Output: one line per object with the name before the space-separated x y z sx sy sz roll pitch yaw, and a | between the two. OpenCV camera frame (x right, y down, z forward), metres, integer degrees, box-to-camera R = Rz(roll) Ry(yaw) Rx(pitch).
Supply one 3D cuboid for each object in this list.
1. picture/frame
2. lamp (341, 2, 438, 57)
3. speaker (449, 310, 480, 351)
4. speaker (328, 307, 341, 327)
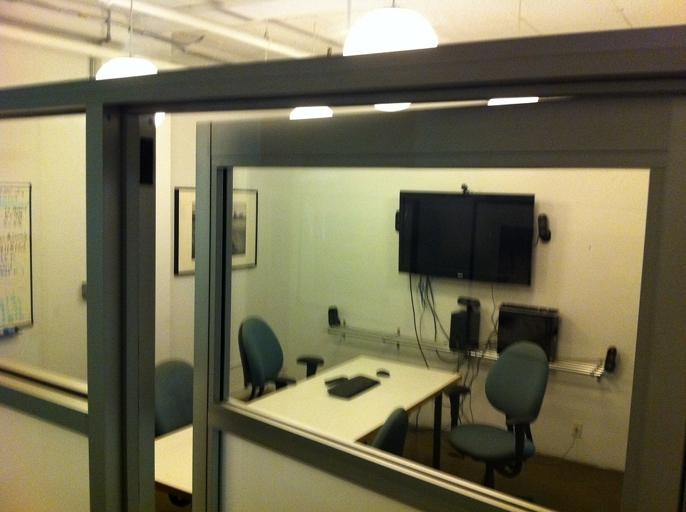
picture/frame | -0.246 -0.051 1.153 0.163 0.187 0.014 1 4 14
lamp | 0.140 -0.659 1.642 0.262 0.172 0.164 1 7 11
speaker | 0.208 0.126 0.980 0.044 0.076 0.046 8 -8 -24
speaker | -0.015 0.112 1.058 0.026 0.042 0.032 0 7 -1
